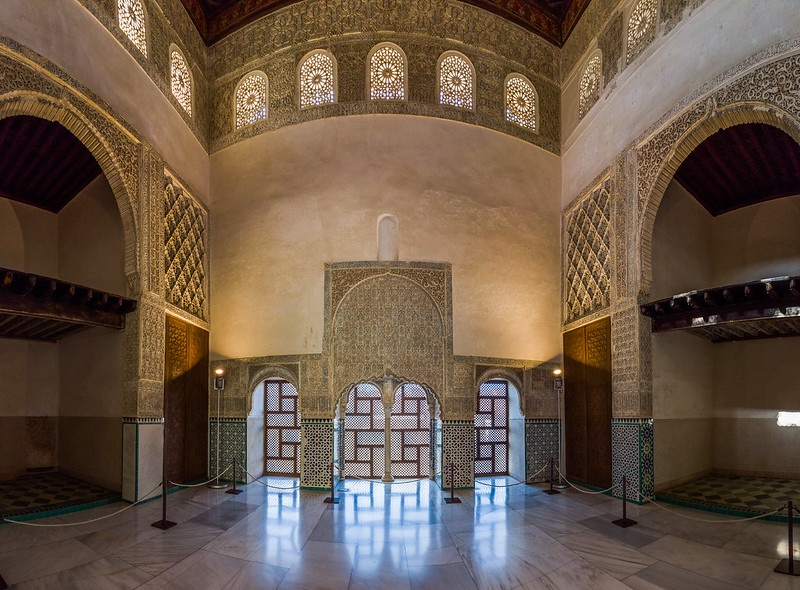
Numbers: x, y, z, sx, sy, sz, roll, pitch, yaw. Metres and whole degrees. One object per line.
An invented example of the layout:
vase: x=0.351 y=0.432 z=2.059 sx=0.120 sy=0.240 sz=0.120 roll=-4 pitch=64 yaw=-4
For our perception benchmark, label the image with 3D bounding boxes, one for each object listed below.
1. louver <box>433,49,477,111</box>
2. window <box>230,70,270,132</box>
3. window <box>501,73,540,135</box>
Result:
louver: x=1.157 y=-4.353 z=11.346 sx=0.714 sy=1.085 sz=0.031 roll=-4 pitch=-1 yaw=-13
window: x=-3.050 y=-3.978 z=11.552 sx=1.152 sy=1.711 sz=0.041 roll=-6 pitch=-13 yaw=28
window: x=2.471 y=-3.934 z=11.620 sx=1.121 sy=1.641 sz=0.036 roll=10 pitch=-19 yaw=-29
